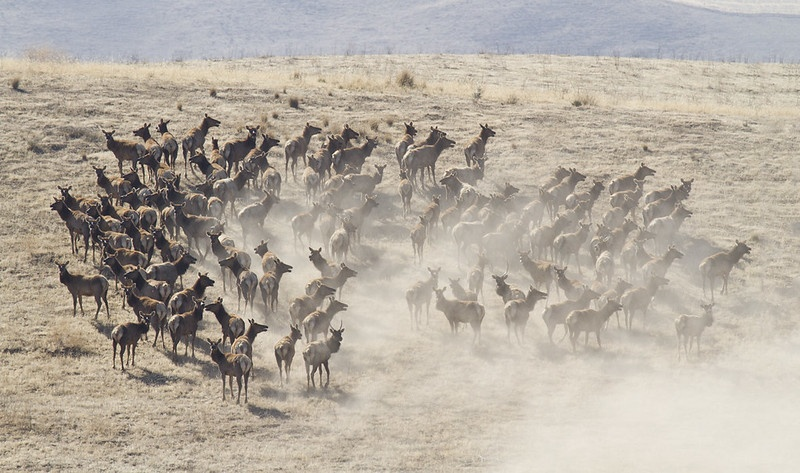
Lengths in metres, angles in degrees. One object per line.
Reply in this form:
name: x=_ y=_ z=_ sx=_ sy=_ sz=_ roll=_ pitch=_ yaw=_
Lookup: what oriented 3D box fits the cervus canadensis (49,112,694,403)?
cervus canadensis: x=-2.667 y=2.280 z=99.317 sx=32.326 sy=1.882 sz=25.348 roll=-2 pitch=38 yaw=-6
